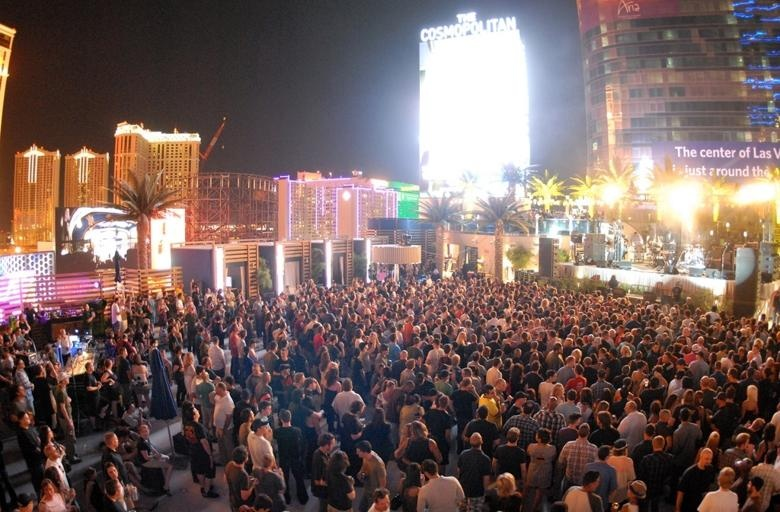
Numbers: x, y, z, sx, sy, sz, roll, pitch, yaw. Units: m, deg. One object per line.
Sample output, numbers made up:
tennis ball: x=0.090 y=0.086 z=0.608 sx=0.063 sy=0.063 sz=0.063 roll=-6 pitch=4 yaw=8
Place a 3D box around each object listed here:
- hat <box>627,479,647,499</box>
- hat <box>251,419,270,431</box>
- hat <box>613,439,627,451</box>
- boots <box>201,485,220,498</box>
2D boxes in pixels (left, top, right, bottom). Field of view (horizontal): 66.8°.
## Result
hat: x=5.995 y=5.619 z=14.243 sx=0.405 sy=0.162 sz=0.379 roll=-6 pitch=29 yaw=2
hat: x=-3.515 y=4.456 z=15.800 sx=0.311 sy=0.357 sz=0.272 roll=38 pitch=-14 yaw=-12
hat: x=5.829 y=4.756 z=14.928 sx=0.244 sy=0.320 sz=0.311 roll=7 pitch=13 yaw=27
boots: x=-5.204 y=6.779 z=17.072 sx=0.422 sy=0.344 sz=0.465 roll=-1 pitch=0 yaw=-41
